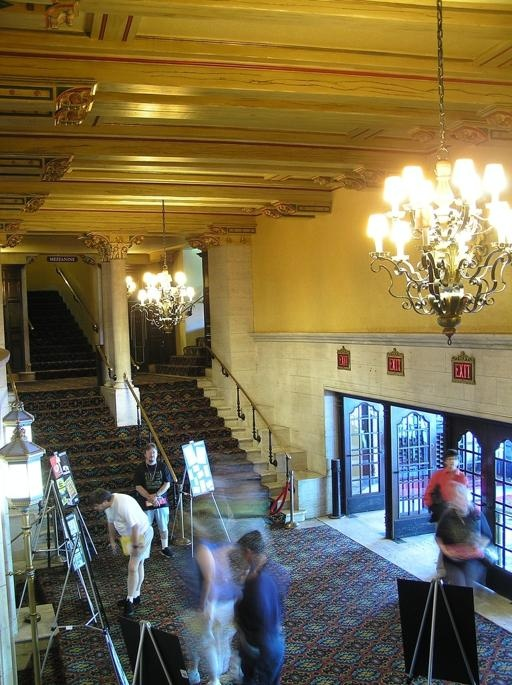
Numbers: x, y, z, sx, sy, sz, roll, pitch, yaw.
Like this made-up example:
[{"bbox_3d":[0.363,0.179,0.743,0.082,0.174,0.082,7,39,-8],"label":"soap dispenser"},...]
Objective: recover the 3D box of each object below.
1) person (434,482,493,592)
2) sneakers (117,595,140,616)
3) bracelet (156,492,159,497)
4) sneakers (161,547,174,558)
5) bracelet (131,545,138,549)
[{"bbox_3d":[1.950,1.868,5.092,0.487,1.075,0.804,-4,-4,16],"label":"person"},{"bbox_3d":[-1.409,2.884,5.939,0.124,0.127,0.317,5,22,4],"label":"sneakers"},{"bbox_3d":[-1.296,2.009,7.085,0.049,0.080,0.047,1,-1,-16],"label":"bracelet"},{"bbox_3d":[-1.268,2.988,7.641,0.075,0.077,0.193,1,2,-40],"label":"sneakers"},{"bbox_3d":[-1.241,2.073,5.470,0.047,0.041,0.046,2,1,-14],"label":"bracelet"}]
